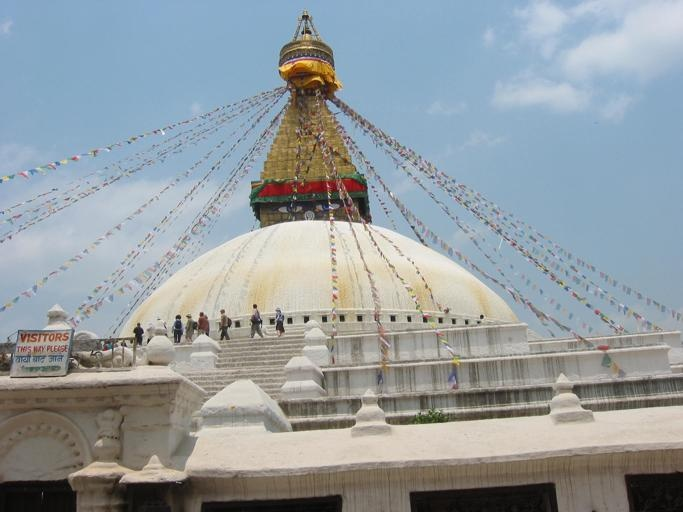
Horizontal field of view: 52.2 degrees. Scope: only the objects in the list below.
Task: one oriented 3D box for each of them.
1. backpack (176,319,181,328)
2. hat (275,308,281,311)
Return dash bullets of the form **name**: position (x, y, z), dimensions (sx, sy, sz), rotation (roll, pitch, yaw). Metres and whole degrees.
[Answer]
- **backpack**: position (-4.773, 1.985, 20.442), dimensions (0.187, 0.240, 0.130), rotation (3, -21, -18)
- **hat**: position (-1.970, 1.667, 21.848), dimensions (0.166, 0.048, 0.160), rotation (2, -1, 4)
